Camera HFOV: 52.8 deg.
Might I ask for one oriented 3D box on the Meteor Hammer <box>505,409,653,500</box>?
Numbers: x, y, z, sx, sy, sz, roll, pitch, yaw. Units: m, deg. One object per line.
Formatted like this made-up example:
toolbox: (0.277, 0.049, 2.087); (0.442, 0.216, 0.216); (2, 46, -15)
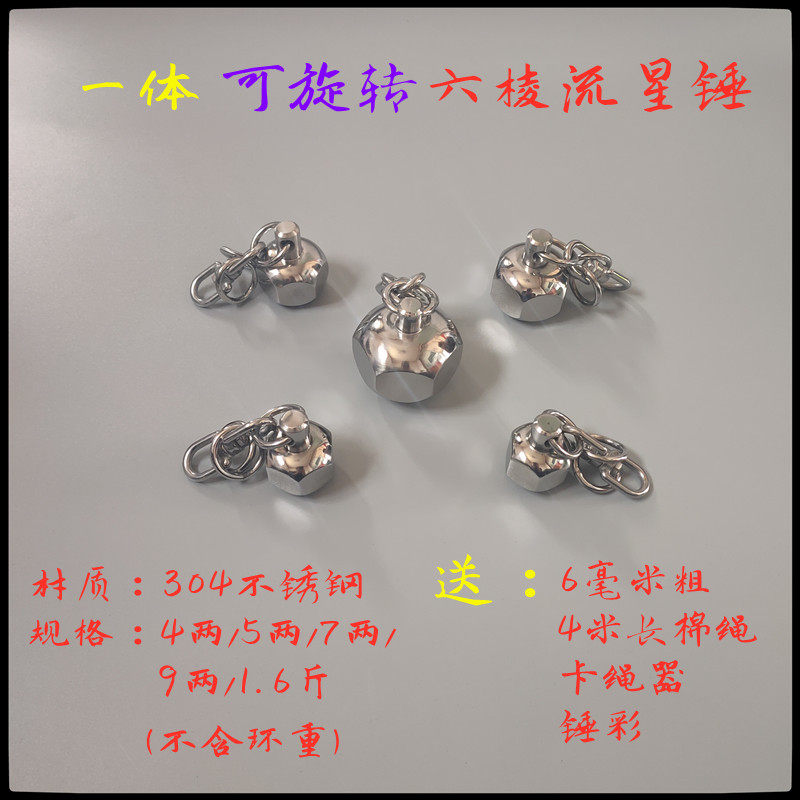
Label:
Meteor Hammer: (0.227, 0.069, 1.006); (0.182, 0.077, 0.109); (8, 32, 8)

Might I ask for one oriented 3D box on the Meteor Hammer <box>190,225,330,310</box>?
Meteor Hammer: (-0.183, -0.179, 1.084); (0.172, 0.081, 0.102); (-12, 64, -16)

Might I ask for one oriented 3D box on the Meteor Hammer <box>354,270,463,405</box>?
Meteor Hammer: (-0.011, -0.095, 1.049); (0.125, 0.175, 0.158); (-4, 66, -2)

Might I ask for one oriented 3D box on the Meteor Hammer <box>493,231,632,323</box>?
Meteor Hammer: (0.194, -0.158, 1.063); (0.184, 0.115, 0.102); (-4, 63, 0)

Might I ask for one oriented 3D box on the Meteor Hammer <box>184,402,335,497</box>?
Meteor Hammer: (-0.179, 0.057, 1.000); (0.190, 0.092, 0.099); (2, 44, -2)
